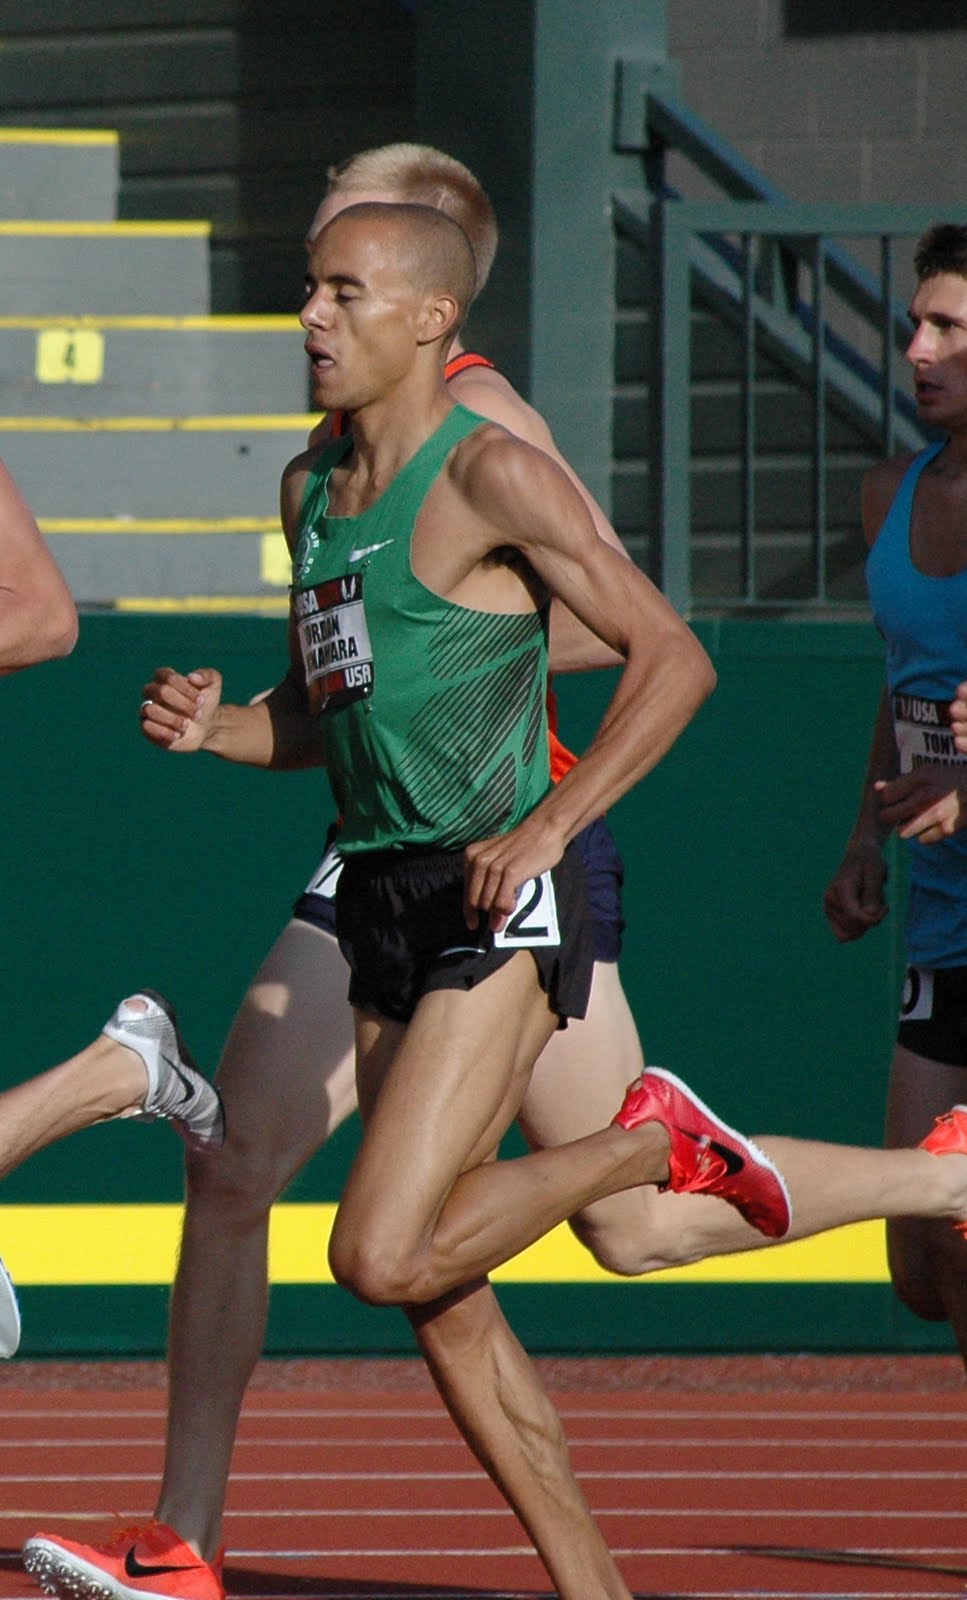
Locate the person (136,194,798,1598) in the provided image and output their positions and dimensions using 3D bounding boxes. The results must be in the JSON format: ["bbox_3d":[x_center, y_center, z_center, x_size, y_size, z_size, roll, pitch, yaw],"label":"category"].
[{"bbox_3d":[-0.072,0.117,2.049,0.715,1.647,0.543,0,-5,12],"label":"person"}]
